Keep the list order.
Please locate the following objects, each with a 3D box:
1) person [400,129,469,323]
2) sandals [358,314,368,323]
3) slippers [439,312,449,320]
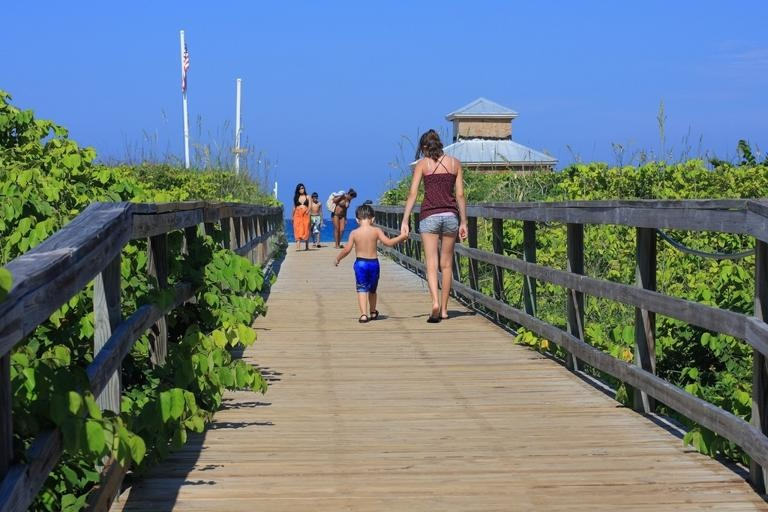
[{"bbox_3d":[0.575,-0.318,7.962,0.689,2.125,0.433,0,4,6],"label":"person"},{"bbox_3d":[-0.229,0.710,8.135,0.113,0.096,0.217,0,5,-2],"label":"sandals"},{"bbox_3d":[0.680,0.689,8.077,0.075,0.070,0.162,-1,-5,3],"label":"slippers"}]
